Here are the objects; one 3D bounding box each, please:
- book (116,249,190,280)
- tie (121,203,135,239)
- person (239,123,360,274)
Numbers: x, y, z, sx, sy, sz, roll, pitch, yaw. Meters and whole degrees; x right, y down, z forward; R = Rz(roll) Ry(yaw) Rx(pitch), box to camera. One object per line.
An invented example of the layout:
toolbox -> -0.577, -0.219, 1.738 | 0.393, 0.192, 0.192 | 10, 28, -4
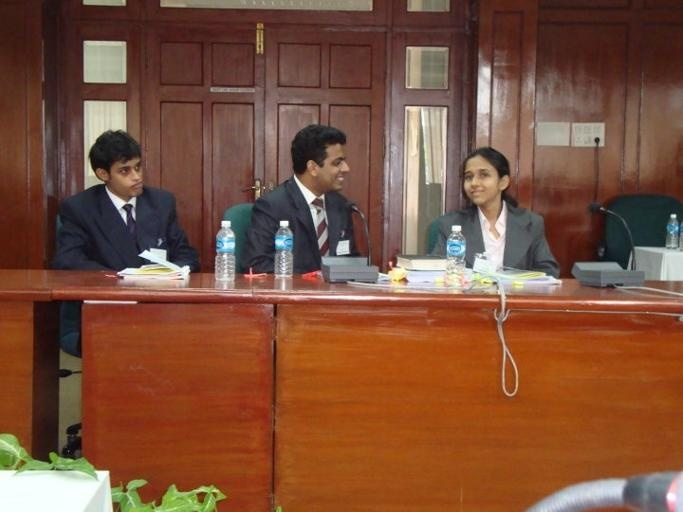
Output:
book -> -0.775, 0.059, 2.845 | 0.204, 0.064, 0.209 | -2, 10, -5
tie -> -1.131, -0.195, 3.600 | 0.054, 0.189, 0.034 | -6, -20, -12
person -> -0.171, -0.315, 3.642 | 0.695, 0.841, 0.401 | 4, -4, -23
